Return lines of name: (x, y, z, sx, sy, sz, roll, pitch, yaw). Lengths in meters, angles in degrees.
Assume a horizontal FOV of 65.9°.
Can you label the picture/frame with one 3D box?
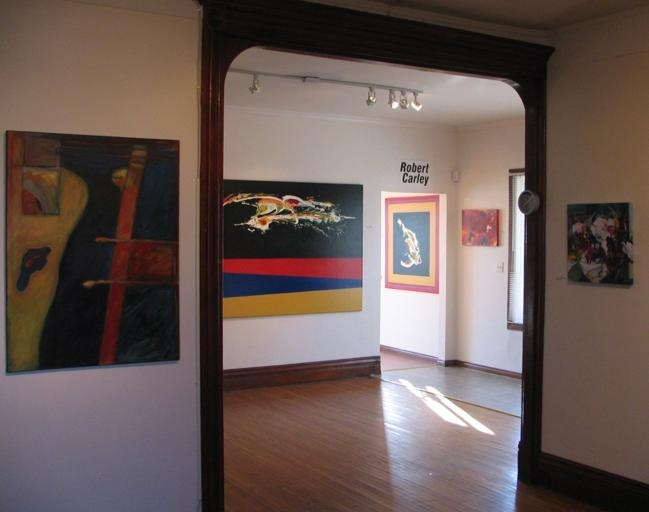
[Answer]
picture/frame: (1.348, -0.191, 7.844, 0.111, 1.536, 1.175, -2, 6, -37)
